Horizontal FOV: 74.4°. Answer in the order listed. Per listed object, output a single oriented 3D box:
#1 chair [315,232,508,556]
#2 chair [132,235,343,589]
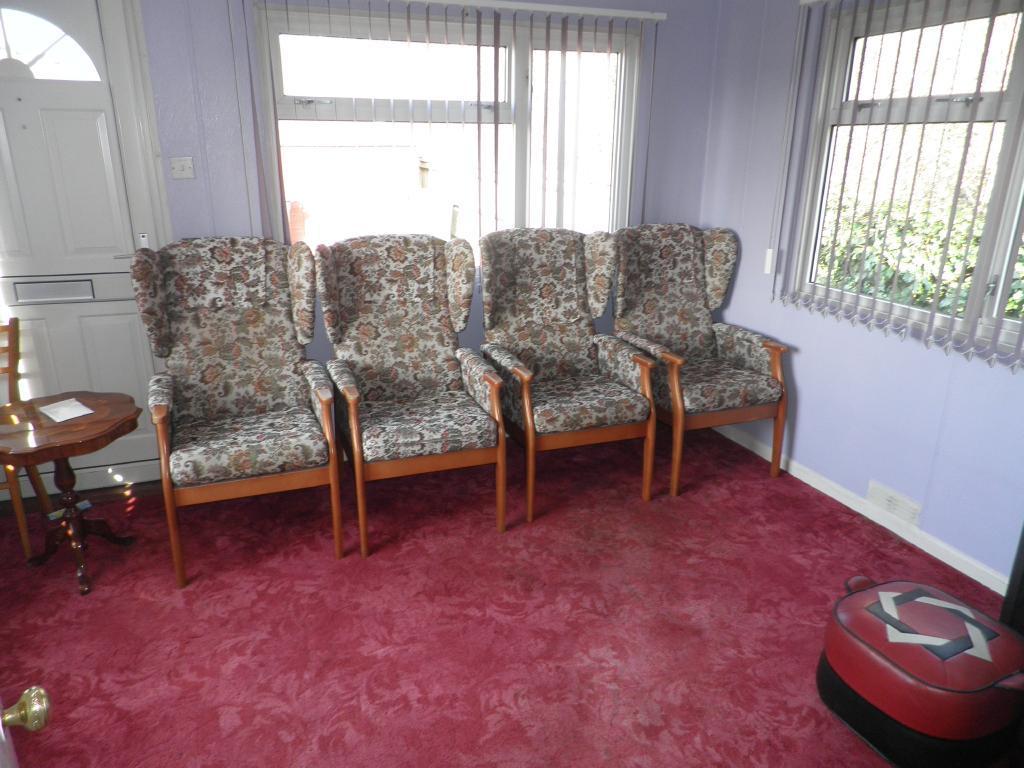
[{"bbox_3d":[-0.474,-0.019,3.359,0.846,1.347,0.861,-7,19,-15],"label":"chair"},{"bbox_3d":[-1.243,0.048,3.159,0.784,1.372,0.897,-9,20,-20],"label":"chair"}]
